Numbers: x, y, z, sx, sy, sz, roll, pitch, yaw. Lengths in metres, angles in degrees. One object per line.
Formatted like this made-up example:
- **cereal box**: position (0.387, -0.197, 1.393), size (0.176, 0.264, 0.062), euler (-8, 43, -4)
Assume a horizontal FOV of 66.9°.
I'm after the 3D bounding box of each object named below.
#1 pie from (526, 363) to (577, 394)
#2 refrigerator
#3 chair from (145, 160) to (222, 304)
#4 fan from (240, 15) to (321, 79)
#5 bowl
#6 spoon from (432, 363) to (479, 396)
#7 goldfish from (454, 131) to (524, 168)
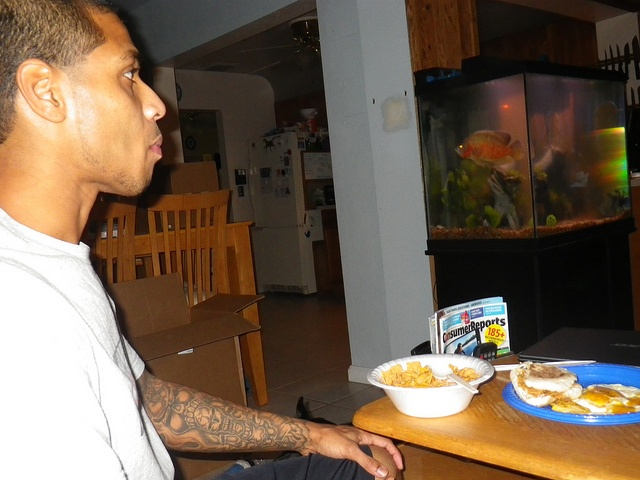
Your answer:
- **pie**: position (0.423, 0.248, 0.888), size (0.059, 0.041, 0.064), euler (1, 5, 1)
- **refrigerator**: position (-0.427, -0.220, 6.648), size (0.939, 2.456, 0.767), euler (-9, 10, -44)
- **chair**: position (-0.685, -0.047, 3.114), size (0.562, 0.950, 0.647), euler (0, 27, 1)
- **fan**: position (-0.227, -2.301, 5.653), size (0.627, 0.704, 0.867), euler (8, 13, 39)
- **bowl**: position (0.236, 0.282, 0.962), size (0.230, 0.065, 0.243), euler (-2, -3, 0)
- **spoon**: position (0.264, 0.257, 0.950), size (0.040, 0.018, 0.117), euler (-4, 12, -21)
- **goldfish**: position (0.859, -0.465, 2.439), size (0.093, 0.228, 0.357), euler (-17, 16, -42)
